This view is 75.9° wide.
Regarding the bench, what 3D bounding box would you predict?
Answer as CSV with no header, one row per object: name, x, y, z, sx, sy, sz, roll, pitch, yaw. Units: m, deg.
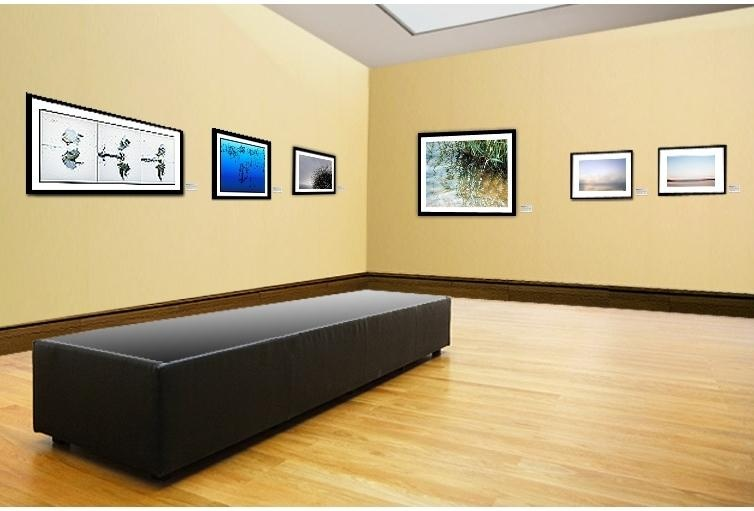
bench,-0.963,1.063,5.370,1.434,0.992,4.573,6,9,42

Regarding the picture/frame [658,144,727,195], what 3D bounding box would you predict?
picture/frame,6.530,-1.747,9.869,1.060,0.938,0.075,-1,-3,29

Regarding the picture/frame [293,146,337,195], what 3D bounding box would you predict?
picture/frame,-1.458,-1.910,11.222,1.514,1.002,0.043,13,17,41

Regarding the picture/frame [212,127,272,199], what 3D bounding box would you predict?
picture/frame,-2.655,-1.744,9.400,0.080,1.282,1.491,5,8,33
